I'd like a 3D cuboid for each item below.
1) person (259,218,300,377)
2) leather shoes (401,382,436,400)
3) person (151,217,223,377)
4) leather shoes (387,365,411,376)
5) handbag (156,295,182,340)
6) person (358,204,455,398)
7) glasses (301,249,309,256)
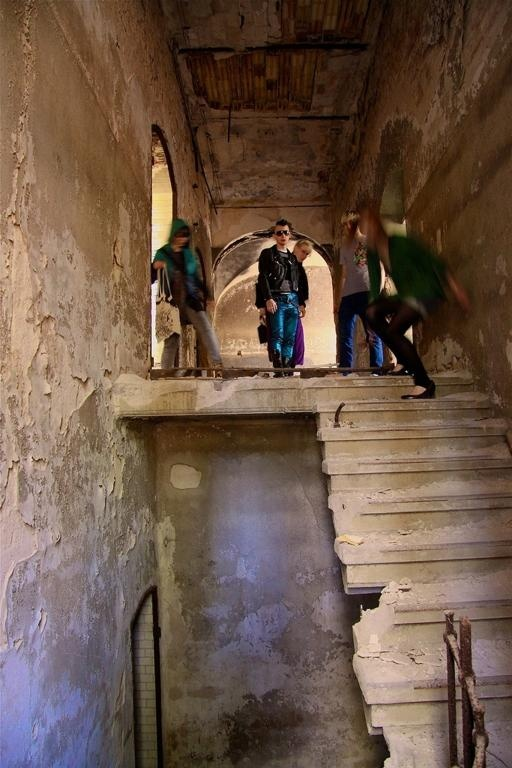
[{"bbox_3d":[0.184,-0.731,4.812,0.370,1.311,0.622,-2,-3,10],"label":"person"},{"bbox_3d":[0.954,0.056,3.130,0.228,0.146,0.089,1,-2,1],"label":"leather shoes"},{"bbox_3d":[-0.568,-0.754,4.252,0.533,1.466,1.329,-1,-4,-7],"label":"person"},{"bbox_3d":[0.979,-0.061,3.639,0.163,0.089,0.066,4,-11,-16],"label":"leather shoes"},{"bbox_3d":[-0.695,-0.515,4.275,0.078,0.279,0.254,1,-21,-29],"label":"handbag"},{"bbox_3d":[0.910,-0.441,3.115,0.549,1.095,0.567,-3,-3,22],"label":"person"},{"bbox_3d":[0.486,-1.253,5.199,0.042,0.051,0.047,22,24,4],"label":"glasses"}]
